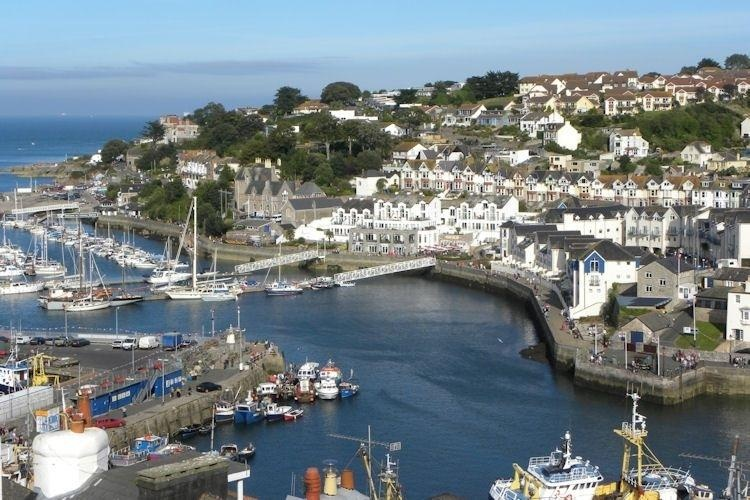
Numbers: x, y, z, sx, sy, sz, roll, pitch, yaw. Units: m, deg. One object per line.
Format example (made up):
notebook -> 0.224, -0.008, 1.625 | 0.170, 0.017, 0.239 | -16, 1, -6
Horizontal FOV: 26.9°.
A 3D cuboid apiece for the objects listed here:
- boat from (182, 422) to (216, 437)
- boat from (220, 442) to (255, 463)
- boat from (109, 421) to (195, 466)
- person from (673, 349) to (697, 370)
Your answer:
boat -> -6.080, 6.207, 54.769 | 1.306, 0.375, 0.413 | 3, 37, -36
boat -> -4.530, 6.828, 53.391 | 0.513, 0.347, 1.199 | 5, 5, 26
boat -> -7.385, 6.440, 50.550 | 1.135, 0.770, 2.076 | 6, 11, 37
person -> 11.597, 4.021, 58.277 | 0.474, 0.483, 0.904 | -2, 2, -25
